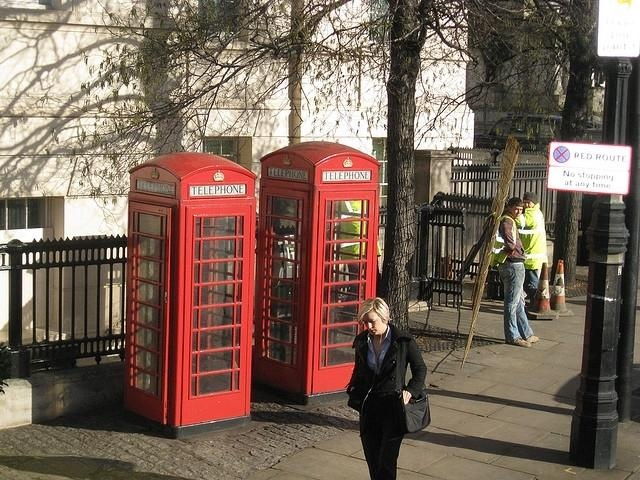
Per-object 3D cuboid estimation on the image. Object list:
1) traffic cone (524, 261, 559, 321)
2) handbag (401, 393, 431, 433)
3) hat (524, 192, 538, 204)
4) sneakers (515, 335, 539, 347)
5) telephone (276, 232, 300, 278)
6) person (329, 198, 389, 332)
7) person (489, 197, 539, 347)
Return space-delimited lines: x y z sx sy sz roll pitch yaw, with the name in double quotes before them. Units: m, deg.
"traffic cone" 3.748 0.836 14.395 0.659 0.879 0.724 1 11 -13
"handbag" 0.903 1.593 7.724 0.104 0.330 0.349 0 1 44
"hat" 3.465 -0.671 13.809 0.155 0.188 0.197 12 30 34
"sneakers" 3.146 1.545 12.871 0.227 0.110 0.078 -21 23 -17
"telephone" -0.398 0.207 10.515 0.088 0.549 0.361 -2 1 -36
"person" 0.463 0.184 10.764 0.662 1.923 0.636 -5 -19 18
"person" 3.005 0.486 13.041 0.622 2.285 0.729 -1 1 29
